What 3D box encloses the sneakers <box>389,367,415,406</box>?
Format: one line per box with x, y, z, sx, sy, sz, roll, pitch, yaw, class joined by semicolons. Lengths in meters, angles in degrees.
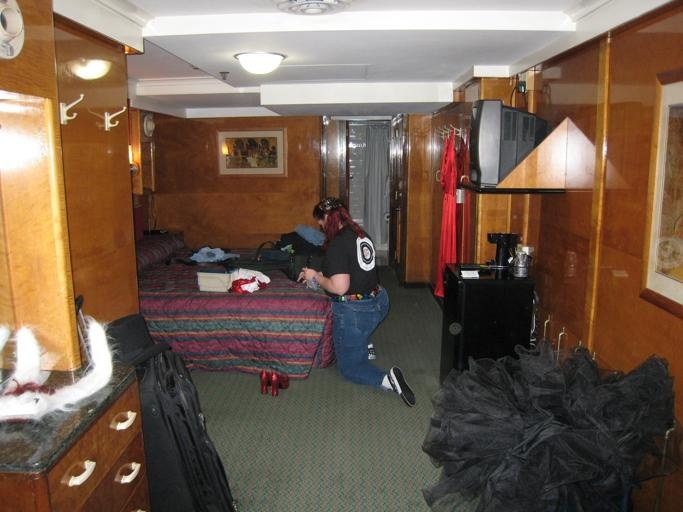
0.508;1.128;4.449;0.100;0.294;0.105;-26;-18;-38;sneakers

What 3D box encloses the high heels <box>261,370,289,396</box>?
-0.607;1.119;4.616;0.151;0.096;0.241;2;8;2;high heels

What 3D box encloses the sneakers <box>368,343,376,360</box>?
0.305;0.987;5.324;0.105;0.136;0.041;5;-6;-14;sneakers

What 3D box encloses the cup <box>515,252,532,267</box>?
1.404;0.034;4.075;0.128;0.131;0.064;1;13;18;cup

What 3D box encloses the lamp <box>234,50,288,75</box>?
-0.674;-1.603;4.345;0.424;0.137;0.248;-4;12;-7;lamp

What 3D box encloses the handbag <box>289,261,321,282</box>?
-0.403;0.187;5.727;0.412;0.226;0.277;0;-7;11;handbag

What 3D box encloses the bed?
-0.944;0.568;4.781;1.132;0.342;1.126;4;17;-5;bed

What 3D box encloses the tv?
1.122;-0.811;3.844;0.584;0.581;0.605;1;12;8;tv

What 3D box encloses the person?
0.152;0.363;4.368;0.711;1.657;0.542;-3;13;-1;person

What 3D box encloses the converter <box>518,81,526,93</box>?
1.548;-1.454;4.505;0.028;0.095;0.070;1;1;-33;converter
